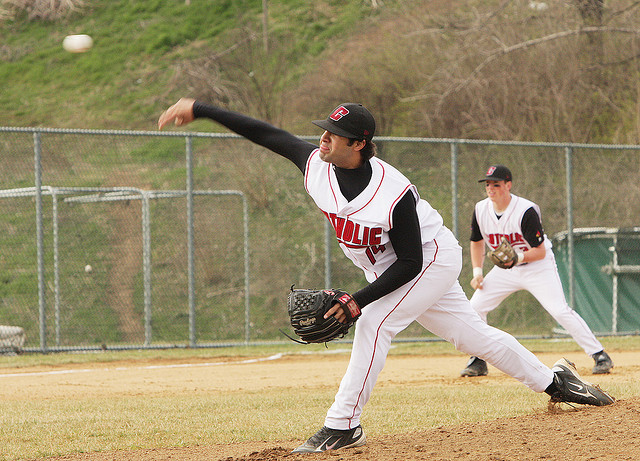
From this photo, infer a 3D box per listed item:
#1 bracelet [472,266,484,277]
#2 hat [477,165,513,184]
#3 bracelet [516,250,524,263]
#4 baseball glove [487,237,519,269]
[{"bbox_3d":[2.381,0.635,21.440,0.135,0.146,0.143,5,-9,-1],"label":"bracelet"},{"bbox_3d":[2.680,-0.840,21.269,0.411,0.224,0.277,6,-2,-24],"label":"hat"},{"bbox_3d":[2.939,0.396,20.971,0.112,0.147,0.157,3,16,7],"label":"bracelet"},{"bbox_3d":[2.679,0.347,20.886,0.423,0.350,0.204,37,-15,4],"label":"baseball glove"}]
